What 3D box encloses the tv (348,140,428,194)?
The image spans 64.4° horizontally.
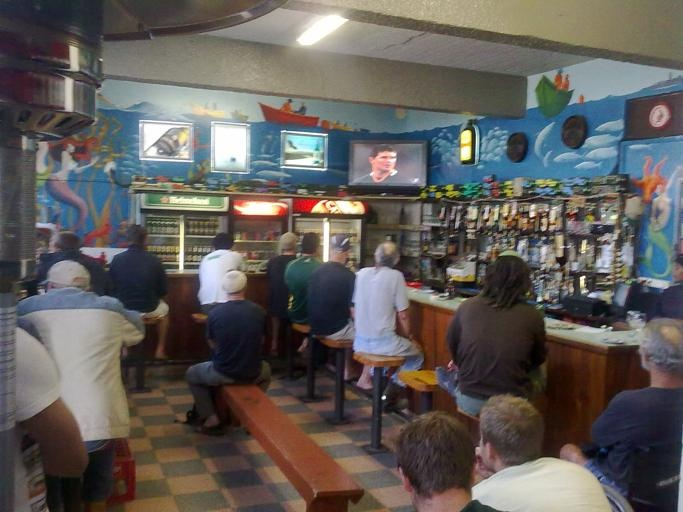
[{"bbox_3d":[0.866,-1.686,9.971,1.267,0.621,0.150,1,1,4],"label":"tv"}]

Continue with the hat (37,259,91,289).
[{"bbox_3d":[-1.608,0.106,3.192,0.170,0.101,0.225,-1,9,-40],"label":"hat"}]

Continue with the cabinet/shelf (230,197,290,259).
[{"bbox_3d":[-1.363,-0.314,8.688,0.956,1.118,0.438,2,-9,-13],"label":"cabinet/shelf"}]

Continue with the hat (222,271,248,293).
[{"bbox_3d":[-0.968,0.234,4.876,0.191,0.207,0.235,1,5,-11],"label":"hat"}]

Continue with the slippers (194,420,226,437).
[{"bbox_3d":[-1.268,1.629,5.135,0.308,0.098,0.111,3,0,14],"label":"slippers"}]

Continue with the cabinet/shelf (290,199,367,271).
[{"bbox_3d":[-0.113,-0.310,9.569,1.224,1.272,0.521,3,-9,16],"label":"cabinet/shelf"}]

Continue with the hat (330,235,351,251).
[{"bbox_3d":[-0.011,-0.146,5.897,0.166,0.103,0.199,2,-5,-3],"label":"hat"}]

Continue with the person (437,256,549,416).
[{"bbox_3d":[1.083,0.583,3.834,0.693,1.189,0.324,4,6,18],"label":"person"}]

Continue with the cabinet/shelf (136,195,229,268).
[{"bbox_3d":[-2.446,-0.338,8.381,1.393,1.065,0.438,1,-2,-10],"label":"cabinet/shelf"}]
